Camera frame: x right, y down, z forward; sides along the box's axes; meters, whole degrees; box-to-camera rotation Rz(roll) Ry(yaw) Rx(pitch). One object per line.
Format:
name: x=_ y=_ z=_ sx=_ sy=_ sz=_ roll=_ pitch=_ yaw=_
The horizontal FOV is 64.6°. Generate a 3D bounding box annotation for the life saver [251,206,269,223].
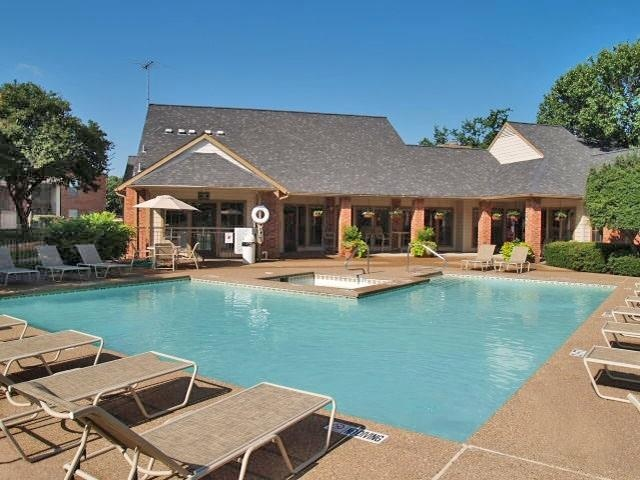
life saver: x=-2.769 y=-1.156 z=23.852 sx=0.709 sy=0.840 sz=1.063 roll=-2 pitch=3 yaw=0

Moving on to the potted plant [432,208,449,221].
potted plant: x=7.510 y=-1.560 z=31.489 sx=1.095 sy=0.496 sz=0.892 roll=0 pitch=1 yaw=-13

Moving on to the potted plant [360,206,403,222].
potted plant: x=3.785 y=-1.594 z=30.587 sx=2.113 sy=0.514 sz=0.982 roll=2 pitch=4 yaw=17
